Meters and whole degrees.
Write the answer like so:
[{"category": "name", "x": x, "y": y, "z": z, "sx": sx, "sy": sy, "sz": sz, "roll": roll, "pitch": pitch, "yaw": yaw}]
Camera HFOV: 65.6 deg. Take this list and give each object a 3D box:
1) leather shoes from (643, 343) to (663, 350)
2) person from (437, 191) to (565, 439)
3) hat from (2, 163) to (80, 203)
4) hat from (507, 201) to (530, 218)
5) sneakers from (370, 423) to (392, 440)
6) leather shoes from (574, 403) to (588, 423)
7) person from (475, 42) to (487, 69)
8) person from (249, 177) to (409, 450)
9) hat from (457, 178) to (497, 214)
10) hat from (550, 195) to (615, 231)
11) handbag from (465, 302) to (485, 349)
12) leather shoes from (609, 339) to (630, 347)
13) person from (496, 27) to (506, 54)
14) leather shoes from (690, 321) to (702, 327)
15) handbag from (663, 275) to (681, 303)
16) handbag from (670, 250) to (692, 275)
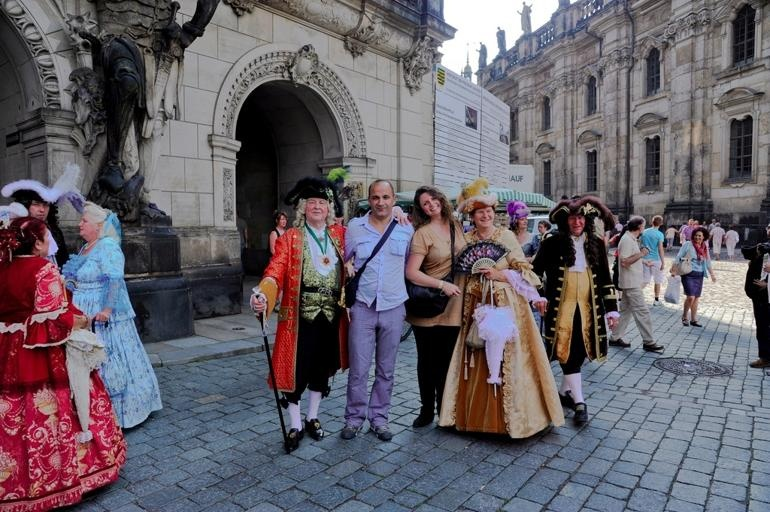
[{"category": "leather shoes", "x": 4.338, "y": 1.479, "z": 9.707, "sx": 0.306, "sy": 0.122, "sz": 0.120, "roll": 0, "pitch": 5, "yaw": 8}, {"category": "person", "x": 1.318, "y": 0.660, "z": 6.955, "sx": 1.298, "sy": 2.752, "sz": 0.575, "roll": 0, "pitch": 4, "yaw": 16}, {"category": "hat", "x": -3.953, "y": -0.845, "z": 6.902, "sx": 0.776, "sy": 0.435, "sz": 0.549, "roll": -2, "pitch": 4, "yaw": -15}, {"category": "hat", "x": 2.060, "y": -0.727, "z": 9.347, "sx": 0.308, "sy": 0.159, "sz": 0.320, "roll": 5, "pitch": 8, "yaw": 21}, {"category": "sneakers", "x": -0.050, "y": 2.031, "z": 6.896, "sx": 0.121, "sy": 0.110, "sz": 0.259, "roll": -2, "pitch": 0, "yaw": -35}, {"category": "leather shoes", "x": 2.346, "y": 1.897, "z": 7.178, "sx": 0.156, "sy": 0.216, "sz": 0.201, "roll": 0, "pitch": 4, "yaw": 17}, {"category": "person", "x": 8.300, "y": -17.045, "z": 50.967, "sx": 0.547, "sy": 2.270, "sz": 1.474, "roll": -1, "pitch": 4, "yaw": 3}, {"category": "person", "x": -0.900, "y": 0.604, "z": 6.824, "sx": 1.124, "sy": 3.042, "sz": 0.523, "roll": -3, "pitch": 5, "yaw": -25}, {"category": "hat", "x": 1.127, "y": -0.762, "z": 7.175, "sx": 0.430, "sy": 0.377, "sz": 0.562, "roll": -6, "pitch": 11, "yaw": 2}, {"category": "hat", "x": 2.400, "y": -0.586, "z": 7.535, "sx": 0.513, "sy": 0.189, "sz": 0.545, "roll": 5, "pitch": -1, "yaw": -22}, {"category": "handbag", "x": 1.063, "y": 0.830, "z": 6.925, "sx": 0.256, "sy": 0.500, "sz": 0.183, "roll": -12, "pitch": 43, "yaw": -8}, {"category": "leather shoes", "x": 3.904, "y": 1.454, "z": 10.035, "sx": 0.389, "sy": 0.166, "sz": 0.132, "roll": -1, "pitch": 3, "yaw": 1}, {"category": "person", "x": 9.137, "y": -17.022, "z": 47.240, "sx": 0.508, "sy": 2.196, "sz": 1.112, "roll": -1, "pitch": 4, "yaw": 2}, {"category": "leather shoes", "x": 5.874, "y": 1.300, "z": 11.323, "sx": 0.215, "sy": 0.087, "sz": 0.079, "roll": -1, "pitch": 5, "yaw": 13}, {"category": "handbag", "x": 5.841, "y": 0.681, "z": 12.152, "sx": 0.258, "sy": 0.602, "sz": 0.535, "roll": 1, "pitch": 4, "yaw": 22}, {"category": "handbag", "x": 5.674, "y": 0.145, "z": 11.447, "sx": 0.186, "sy": 0.490, "sz": 0.482, "roll": -1, "pitch": 4, "yaw": 0}]
